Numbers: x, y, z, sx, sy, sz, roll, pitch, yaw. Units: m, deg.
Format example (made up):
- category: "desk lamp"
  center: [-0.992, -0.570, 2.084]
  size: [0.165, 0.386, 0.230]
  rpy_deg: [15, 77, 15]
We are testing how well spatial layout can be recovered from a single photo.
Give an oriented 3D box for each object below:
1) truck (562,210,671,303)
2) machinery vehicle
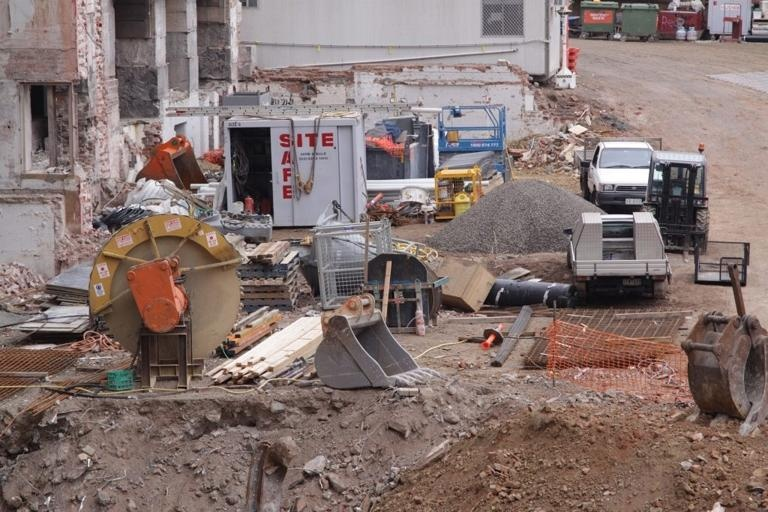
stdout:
- category: "truck"
  center: [4.864, 0.064, 19.239]
  size: [1.885, 1.826, 1.385]
  rpy_deg: [1, 12, 6]
- category: "machinery vehicle"
  center: [7.130, -1.337, 22.386]
  size: [1.387, 2.082, 2.719]
  rpy_deg: [0, 13, 9]
